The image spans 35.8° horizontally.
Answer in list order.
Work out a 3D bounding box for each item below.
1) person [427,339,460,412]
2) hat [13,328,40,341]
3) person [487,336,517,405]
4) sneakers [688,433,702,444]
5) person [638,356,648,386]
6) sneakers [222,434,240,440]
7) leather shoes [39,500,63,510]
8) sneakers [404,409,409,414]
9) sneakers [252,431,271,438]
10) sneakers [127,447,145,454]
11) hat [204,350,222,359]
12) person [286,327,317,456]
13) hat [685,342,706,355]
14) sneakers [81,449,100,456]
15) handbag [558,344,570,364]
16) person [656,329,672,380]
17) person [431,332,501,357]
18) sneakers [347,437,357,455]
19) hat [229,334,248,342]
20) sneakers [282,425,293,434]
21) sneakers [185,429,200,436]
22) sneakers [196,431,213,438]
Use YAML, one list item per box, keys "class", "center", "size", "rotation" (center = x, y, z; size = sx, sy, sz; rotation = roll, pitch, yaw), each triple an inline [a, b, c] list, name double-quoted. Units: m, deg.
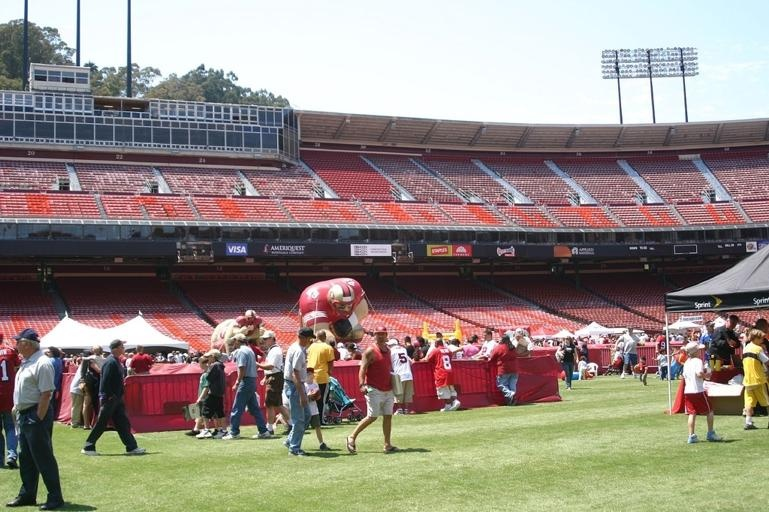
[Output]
- class: "person"
  center: [2.169, 4.439, 43.166]
  size: [1.267, 2.343, 0.818]
  rotation: [11, 11, 40]
- class: "hat"
  center: [-10.510, 2.353, 34.812]
  size: [0.742, 0.343, 0.488]
  rotation: [1, -6, 7]
- class: "person"
  center: [4.415, 4.192, 43.630]
  size: [1.089, 2.495, 0.652]
  rotation: [7, 9, 20]
- class: "sneakers"
  center: [9.612, 5.729, 37.051]
  size: [0.301, 0.268, 0.334]
  rotation: [5, 8, 13]
- class: "person"
  center: [10.579, 4.813, 48.903]
  size: [0.588, 0.721, 1.263]
  rotation: [-8, 14, 10]
- class: "sneakers"
  center: [-5.061, 6.074, 39.534]
  size: [0.577, 0.220, 0.196]
  rotation: [4, -11, 3]
- class: "leather shoes"
  center: [-9.611, 7.266, 34.354]
  size: [0.643, 0.231, 0.260]
  rotation: [6, -12, -13]
- class: "sneakers"
  center: [0.780, 5.653, 42.696]
  size: [0.160, 0.261, 0.165]
  rotation: [2, 3, 42]
- class: "sneakers"
  center: [-4.095, 6.023, 39.620]
  size: [0.551, 0.216, 0.209]
  rotation: [0, -8, 16]
- class: "sneakers"
  center: [-7.879, 6.289, 37.912]
  size: [0.578, 0.224, 0.192]
  rotation: [-4, 1, -5]
- class: "hat"
  center: [-5.691, 3.314, 39.551]
  size: [0.489, 0.198, 0.342]
  rotation: [0, -10, 27]
- class: "person"
  center: [-2.743, 4.285, 37.257]
  size: [0.848, 3.969, 0.999]
  rotation: [3, 9, -5]
- class: "hat"
  center: [9.730, 2.932, 37.236]
  size: [0.556, 0.250, 0.369]
  rotation: [-9, 6, -27]
- class: "sneakers"
  center: [-9.343, 6.297, 37.818]
  size: [0.549, 0.207, 0.183]
  rotation: [2, -3, -5]
- class: "handbag"
  center: [7.231, 4.009, 47.808]
  size: [0.394, 0.722, 0.645]
  rotation: [3, 8, -4]
- class: "person"
  center: [11.681, 4.299, 50.218]
  size: [0.707, 2.116, 0.616]
  rotation: [-2, -2, 32]
- class: "person"
  center: [3.551, 3.363, 44.873]
  size: [1.836, 0.819, 1.246]
  rotation: [-1, -12, 16]
- class: "sneakers"
  center: [-0.996, 6.024, 37.361]
  size: [0.168, 0.531, 0.261]
  rotation: [-4, -10, -27]
- class: "hat"
  center: [-4.913, 2.801, 40.137]
  size: [0.520, 0.216, 0.730]
  rotation: [11, -12, -28]
- class: "sneakers"
  center: [-3.256, 5.892, 39.912]
  size: [0.212, 0.225, 0.570]
  rotation: [-2, -12, 3]
- class: "sneakers"
  center: [-6.523, 6.040, 40.234]
  size: [0.560, 0.200, 0.194]
  rotation: [-1, -9, 19]
- class: "sneakers"
  center: [-5.978, 6.028, 39.719]
  size: [0.629, 0.248, 0.210]
  rotation: [-3, -14, 20]
